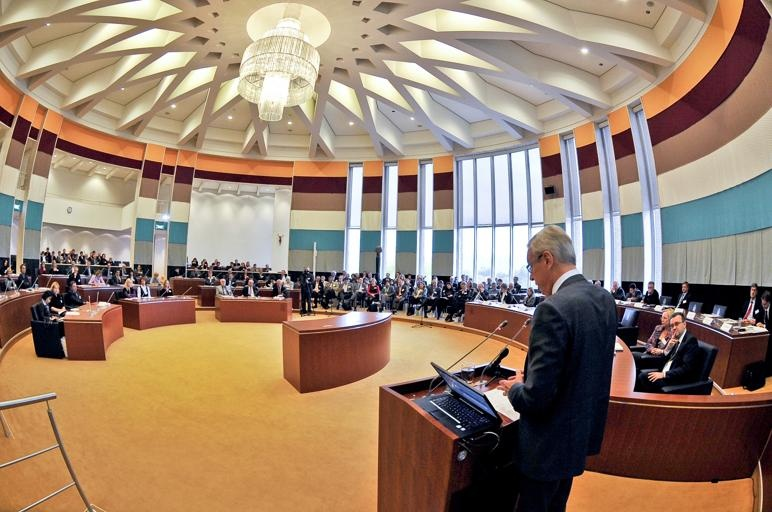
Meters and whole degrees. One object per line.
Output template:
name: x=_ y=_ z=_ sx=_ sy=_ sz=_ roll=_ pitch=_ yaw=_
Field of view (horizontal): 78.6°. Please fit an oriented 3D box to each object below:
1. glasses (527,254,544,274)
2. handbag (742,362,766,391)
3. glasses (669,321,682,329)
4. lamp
glasses: x=1.669 y=0.100 z=5.281 sx=0.057 sy=0.196 sz=0.189 roll=-4 pitch=-5 yaw=36
handbag: x=6.538 y=2.161 z=8.404 sx=0.505 sy=0.475 sz=0.160 roll=3 pitch=-3 yaw=-17
glasses: x=5.056 y=1.207 z=8.194 sx=0.138 sy=0.077 sz=0.107 roll=11 pitch=-12 yaw=-38
lamp: x=-2.501 y=-4.812 z=11.477 sx=1.375 sy=3.287 sz=1.405 roll=-16 pitch=-31 yaw=40
